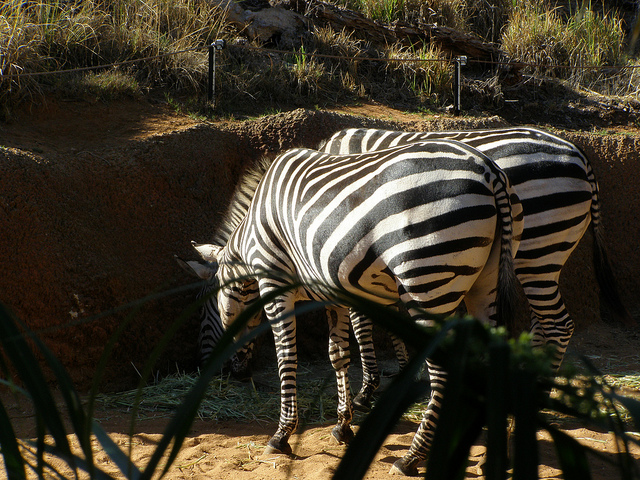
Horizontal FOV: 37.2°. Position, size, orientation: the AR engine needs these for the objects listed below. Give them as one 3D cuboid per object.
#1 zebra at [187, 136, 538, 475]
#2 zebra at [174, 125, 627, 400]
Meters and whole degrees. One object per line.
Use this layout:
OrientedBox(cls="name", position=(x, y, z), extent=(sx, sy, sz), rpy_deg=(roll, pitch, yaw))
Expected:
OrientedBox(cls="zebra", position=(0.300, 0.528, 8.640), extent=(3.081, 2.914, 3.465), rpy_deg=(8, 14, 21))
OrientedBox(cls="zebra", position=(0.162, 0.457, 8.637), extent=(1.198, 2.514, 4.220), rpy_deg=(-2, 0, -42))
